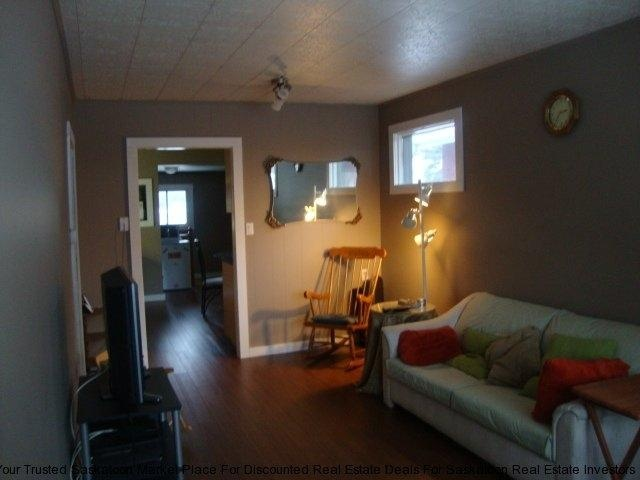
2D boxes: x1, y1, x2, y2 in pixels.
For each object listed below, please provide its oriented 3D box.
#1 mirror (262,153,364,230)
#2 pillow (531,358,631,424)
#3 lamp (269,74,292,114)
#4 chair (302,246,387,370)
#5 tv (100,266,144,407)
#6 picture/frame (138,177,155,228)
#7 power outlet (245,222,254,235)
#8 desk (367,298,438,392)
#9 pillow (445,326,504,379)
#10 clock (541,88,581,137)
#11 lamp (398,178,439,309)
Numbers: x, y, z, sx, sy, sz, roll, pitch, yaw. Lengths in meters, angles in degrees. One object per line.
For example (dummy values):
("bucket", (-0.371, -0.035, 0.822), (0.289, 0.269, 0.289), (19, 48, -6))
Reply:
("mirror", (-0.067, -0.530, 5.816), (1.149, 0.814, 0.043), (3, 4, 14))
("pillow", (1.581, 0.860, 3.056), (0.426, 0.448, 0.175), (1, -3, -8))
("lamp", (-0.389, -1.418, 4.854), (0.182, 0.375, 0.257), (11, 14, 43))
("chair", (0.228, 0.742, 5.576), (1.004, 1.259, 0.961), (-3, 3, -27))
("tv", (-1.102, 0.547, 2.832), (0.173, 0.718, 0.402), (-4, 7, -25))
("picture/frame", (-2.899, -0.629, 8.482), (0.254, 0.821, 0.135), (-2, 6, -2))
("power outlet", (-0.782, -0.132, 5.586), (0.121, 0.179, 0.018), (-4, 6, -39))
("desk", (0.680, 1.001, 4.779), (0.621, 0.695, 0.758), (0, -2, -4))
("pillow", (1.220, 0.900, 4.022), (0.242, 0.164, 0.475), (-3, 3, -11))
("clock", (1.869, -0.987, 3.912), (0.027, 0.352, 0.292), (-5, 7, -27))
("lamp", (1.018, 0.021, 5.133), (0.332, 1.258, 0.963), (0, 6, 13))
